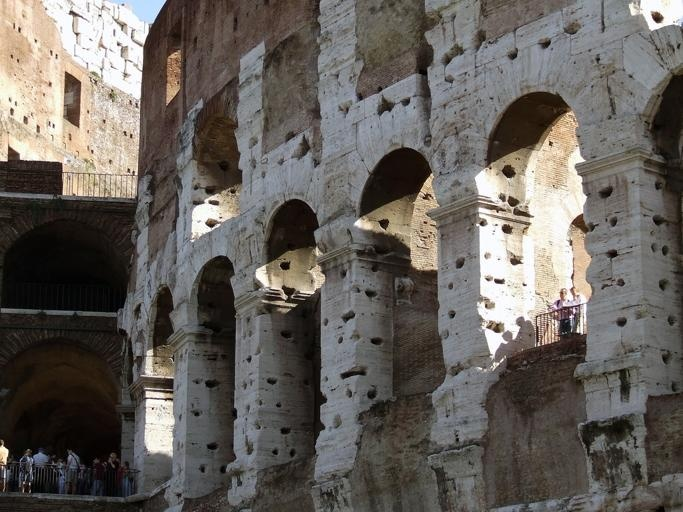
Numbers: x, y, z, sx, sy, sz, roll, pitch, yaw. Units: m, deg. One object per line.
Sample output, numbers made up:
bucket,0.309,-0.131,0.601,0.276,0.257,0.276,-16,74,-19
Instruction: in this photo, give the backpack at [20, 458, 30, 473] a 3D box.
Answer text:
backpack,-6.214,4.074,43.731,0.236,0.281,0.102,-11,-23,15
